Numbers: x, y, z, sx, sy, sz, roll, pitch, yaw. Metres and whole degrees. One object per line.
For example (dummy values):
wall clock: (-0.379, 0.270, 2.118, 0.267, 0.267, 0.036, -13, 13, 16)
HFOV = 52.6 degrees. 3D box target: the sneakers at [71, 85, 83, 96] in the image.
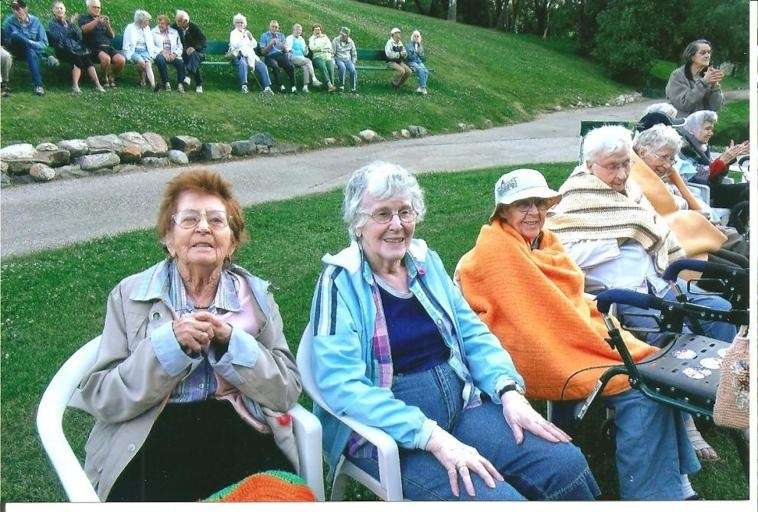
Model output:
sneakers: (-5.216, -2.919, 13.319, 0.094, 0.111, 0.251, -20, 19, -41)

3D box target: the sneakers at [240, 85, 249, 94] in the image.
sneakers: (-2.764, -3.501, 15.877, 0.099, 0.096, 0.219, -8, 24, -20)

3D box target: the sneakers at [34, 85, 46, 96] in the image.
sneakers: (-5.601, -2.779, 12.737, 0.075, 0.100, 0.221, -31, 12, -16)

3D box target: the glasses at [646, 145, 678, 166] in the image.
glasses: (3.005, -1.086, 8.157, 0.186, 0.104, 0.242, 3, 13, -27)

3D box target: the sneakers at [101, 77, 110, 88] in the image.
sneakers: (-4.922, -3.176, 13.921, 0.094, 0.176, 0.185, 11, 63, 5)

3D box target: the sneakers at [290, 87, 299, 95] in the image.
sneakers: (-1.827, -3.661, 16.688, 0.128, 0.167, 0.457, -2, 21, -6)

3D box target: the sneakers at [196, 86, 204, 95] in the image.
sneakers: (-3.533, -3.327, 15.177, 0.150, 0.156, 0.158, 1, -3, -6)

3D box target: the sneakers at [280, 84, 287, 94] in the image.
sneakers: (-2.079, -3.671, 16.641, 0.168, 0.231, 0.574, 0, 11, -5)

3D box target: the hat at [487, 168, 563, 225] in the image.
hat: (1.196, -0.541, 6.601, 0.401, 0.253, 0.501, -6, -9, -13)

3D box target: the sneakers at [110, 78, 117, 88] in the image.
sneakers: (-4.833, -3.210, 14.025, 0.066, 0.074, 0.189, -11, 49, -21)

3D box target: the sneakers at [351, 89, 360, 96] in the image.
sneakers: (-0.542, -3.874, 17.994, 0.111, 0.114, 0.264, 8, 17, 26)

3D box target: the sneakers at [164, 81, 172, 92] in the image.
sneakers: (-4.007, -3.276, 14.645, 0.158, 0.149, 0.214, -2, 47, -19)

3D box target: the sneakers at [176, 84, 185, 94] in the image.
sneakers: (-3.791, -3.271, 14.799, 0.123, 0.178, 0.175, -3, 9, -3)

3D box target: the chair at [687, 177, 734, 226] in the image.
chair: (3.823, -0.587, 8.903, 0.573, 0.550, 0.435, 0, 21, 15)

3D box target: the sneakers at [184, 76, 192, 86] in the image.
sneakers: (-3.724, -3.467, 14.995, 0.175, 0.176, 0.388, 3, 12, -10)

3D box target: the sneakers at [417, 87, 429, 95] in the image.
sneakers: (1.104, -4.266, 19.608, 0.295, 0.209, 0.160, 5, 40, 25)

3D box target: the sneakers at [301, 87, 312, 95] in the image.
sneakers: (-1.607, -3.739, 17.061, 0.132, 0.181, 0.282, 0, 8, -2)
